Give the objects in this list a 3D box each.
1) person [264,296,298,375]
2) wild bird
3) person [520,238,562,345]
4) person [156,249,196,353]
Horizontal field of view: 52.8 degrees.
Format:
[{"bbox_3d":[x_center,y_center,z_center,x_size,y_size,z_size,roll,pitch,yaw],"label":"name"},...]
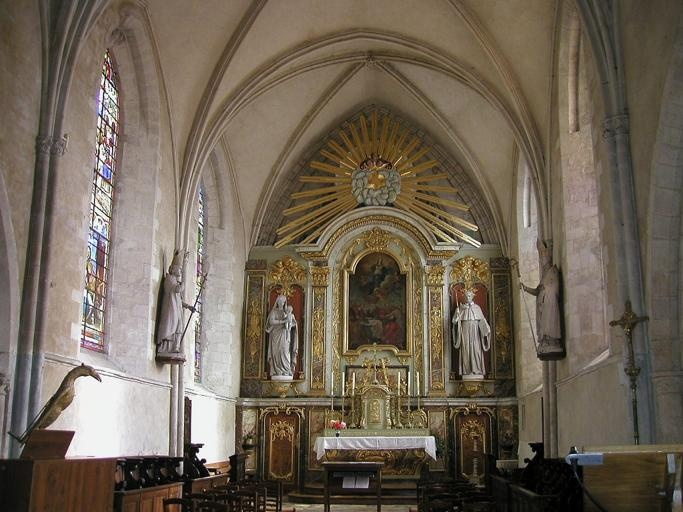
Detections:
[{"bbox_3d":[-1.470,2.004,16.952,0.787,2.051,0.591,1,-19,-6],"label":"person"},{"bbox_3d":[-3.365,1.689,8.017,0.587,0.886,0.638,-12,-22,27],"label":"wild bird"},{"bbox_3d":[3.696,0.632,12.391,0.492,2.251,0.741,4,-19,-15],"label":"person"},{"bbox_3d":[-3.145,0.848,12.923,0.665,2.472,0.816,-4,-35,-7],"label":"person"}]
